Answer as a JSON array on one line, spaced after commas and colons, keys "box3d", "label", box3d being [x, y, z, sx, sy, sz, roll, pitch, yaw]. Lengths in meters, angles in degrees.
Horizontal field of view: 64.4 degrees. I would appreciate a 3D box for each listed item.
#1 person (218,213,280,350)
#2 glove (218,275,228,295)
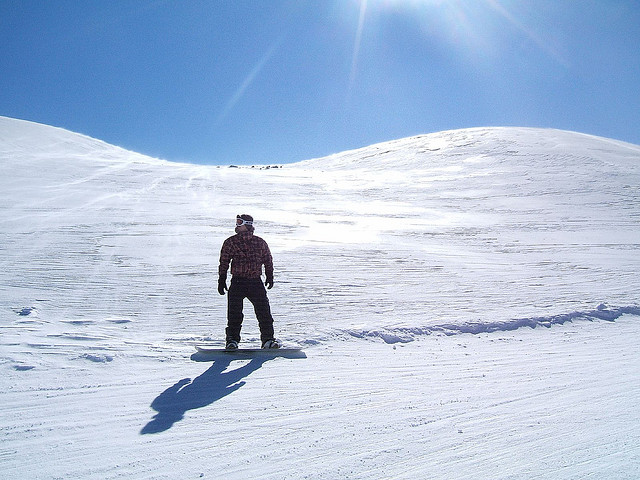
[{"box3d": [-1.201, 0.724, 8.518, 0.993, 2.218, 0.973, 1, 13, -9], "label": "person"}, {"box3d": [-1.606, 0.750, 8.369, 0.132, 0.403, 0.366, 1, 12, -10], "label": "glove"}]
